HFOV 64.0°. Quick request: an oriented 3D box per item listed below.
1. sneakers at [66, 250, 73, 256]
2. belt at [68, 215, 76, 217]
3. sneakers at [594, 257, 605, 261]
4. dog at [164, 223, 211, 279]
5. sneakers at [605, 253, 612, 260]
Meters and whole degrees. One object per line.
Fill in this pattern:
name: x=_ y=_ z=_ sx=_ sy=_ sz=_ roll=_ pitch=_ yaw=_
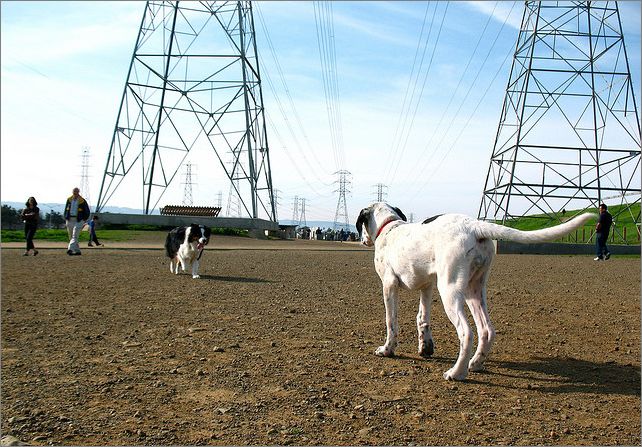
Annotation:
sneakers: x=-8.857 y=1.059 z=18.178 sx=0.136 sy=0.205 sz=0.050 roll=-1 pitch=8 yaw=-4
belt: x=-8.296 y=-0.222 z=17.238 sx=0.221 sy=0.098 sz=0.138 roll=-1 pitch=7 yaw=-22
sneakers: x=12.268 y=1.596 z=22.872 sx=0.379 sy=0.176 sz=0.165 roll=-1 pitch=2 yaw=21
dog: x=-3.754 y=0.779 z=14.170 sx=0.867 sy=1.434 sz=2.348 roll=1 pitch=0 yaw=-37
sneakers: x=12.823 y=1.505 z=23.182 sx=0.112 sy=0.298 sz=0.187 roll=31 pitch=5 yaw=20
